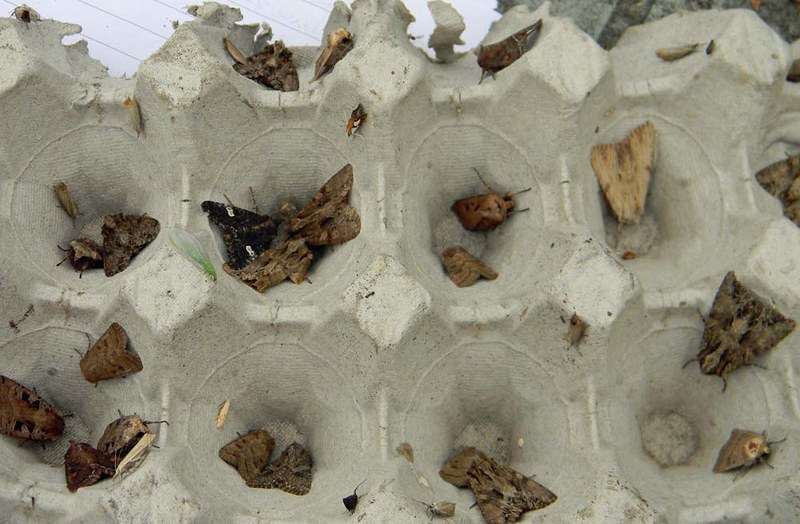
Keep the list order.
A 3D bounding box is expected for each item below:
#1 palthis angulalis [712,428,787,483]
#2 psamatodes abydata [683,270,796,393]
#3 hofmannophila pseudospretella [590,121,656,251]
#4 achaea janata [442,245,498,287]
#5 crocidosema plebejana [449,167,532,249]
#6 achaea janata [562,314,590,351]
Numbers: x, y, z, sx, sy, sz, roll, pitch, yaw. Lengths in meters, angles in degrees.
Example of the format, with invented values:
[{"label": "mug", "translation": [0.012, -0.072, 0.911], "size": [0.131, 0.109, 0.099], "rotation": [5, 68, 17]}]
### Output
[{"label": "palthis angulalis", "translation": [3.907, 2.157, 18.949], "size": [0.776, 0.545, 0.224], "rotation": [1, -2, 14]}, {"label": "psamatodes abydata", "translation": [3.886, 0.752, 19.125], "size": [0.966, 1.268, 0.339], "rotation": [1, -2, -1]}, {"label": "hofmannophila pseudospretella", "translation": [2.637, -0.900, 19.800], "size": [0.698, 1.336, 0.365], "rotation": [-5, 13, 16]}, {"label": "achaea janata", "translation": [0.818, 0.062, 19.796], "size": [0.685, 0.495, 0.390], "rotation": [1, -2, 8]}, {"label": "crocidosema plebejana", "translation": [1.035, -0.624, 19.926], "size": [0.742, 0.712, 0.260], "rotation": [-11, 3, 11]}, {"label": "achaea janata", "translation": [2.016, 0.777, 19.194], "size": [0.250, 0.364, 0.124], "rotation": [1, -2, 4]}]
